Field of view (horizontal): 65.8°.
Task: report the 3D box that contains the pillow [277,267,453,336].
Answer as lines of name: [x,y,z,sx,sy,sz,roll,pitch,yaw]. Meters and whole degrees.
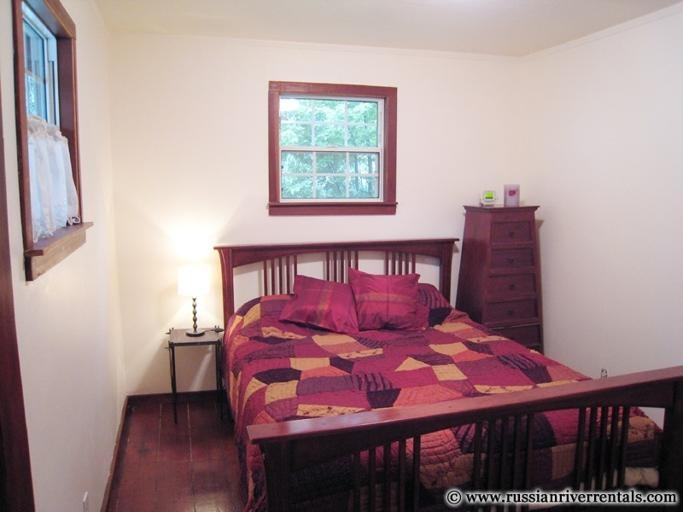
pillow: [0.123,0.325,3.638,0.741,0.253,0.552,2,14,-3]
